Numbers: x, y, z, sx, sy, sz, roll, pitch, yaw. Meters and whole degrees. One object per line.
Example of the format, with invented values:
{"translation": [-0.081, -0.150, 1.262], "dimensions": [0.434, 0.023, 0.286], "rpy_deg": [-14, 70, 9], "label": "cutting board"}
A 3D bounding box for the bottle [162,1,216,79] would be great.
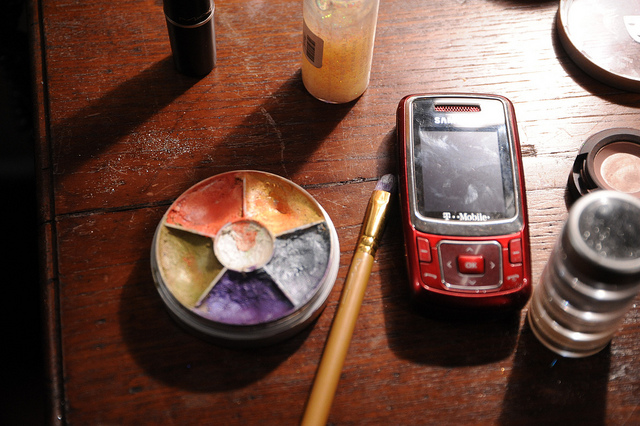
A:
{"translation": [-0.220, -0.302, 0.950], "dimensions": [0.076, 0.125, 0.086], "rpy_deg": [0, 71, -1], "label": "bottle"}

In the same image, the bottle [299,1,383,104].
{"translation": [0.029, -0.268, 0.919], "dimensions": [0.116, 0.165, 0.104], "rpy_deg": [4, 71, 0], "label": "bottle"}
